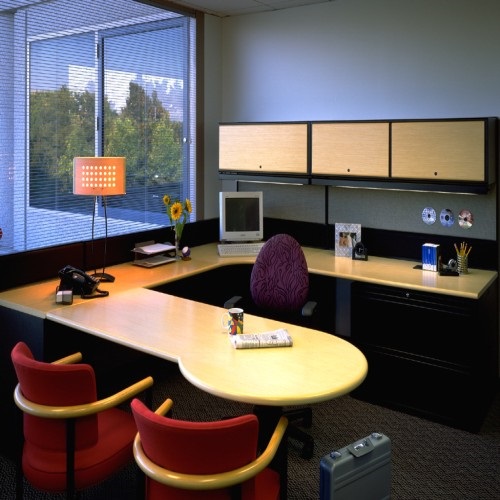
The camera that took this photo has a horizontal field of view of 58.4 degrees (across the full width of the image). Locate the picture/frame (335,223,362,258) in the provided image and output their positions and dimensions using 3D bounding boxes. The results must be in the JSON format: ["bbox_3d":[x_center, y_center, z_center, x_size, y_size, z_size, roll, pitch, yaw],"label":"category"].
[{"bbox_3d":[0.816,-0.090,3.703,0.224,0.349,0.021,2,3,23],"label":"picture/frame"}]

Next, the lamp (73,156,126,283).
[{"bbox_3d":[-1.023,-0.231,3.098,0.365,0.825,0.797,-4,12,-18],"label":"lamp"}]

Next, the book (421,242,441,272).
[{"bbox_3d":[1.317,0.042,3.253,0.149,0.325,0.168,2,1,25],"label":"book"}]

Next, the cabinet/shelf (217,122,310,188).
[{"bbox_3d":[0.092,-0.835,3.794,0.868,0.498,0.161,9,14,38],"label":"cabinet/shelf"}]

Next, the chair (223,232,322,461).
[{"bbox_3d":[0.141,0.511,3.030,0.641,1.256,0.651,5,-1,-41],"label":"chair"}]

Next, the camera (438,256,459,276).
[{"bbox_3d":[1.425,0.101,3.197,0.105,0.125,0.114,0,5,13],"label":"camera"}]
